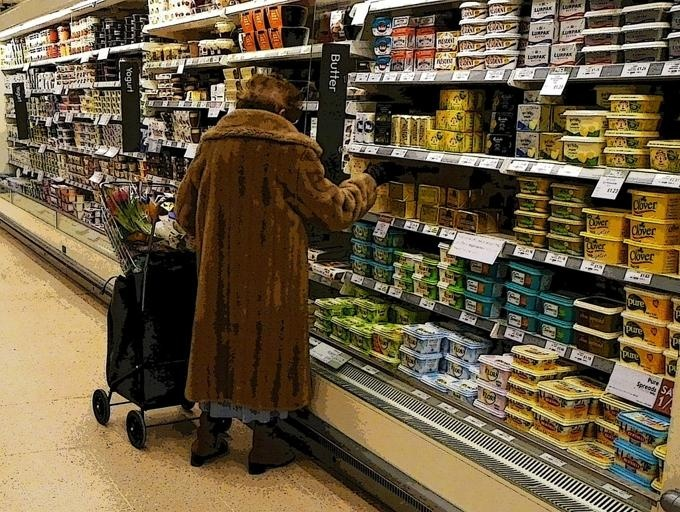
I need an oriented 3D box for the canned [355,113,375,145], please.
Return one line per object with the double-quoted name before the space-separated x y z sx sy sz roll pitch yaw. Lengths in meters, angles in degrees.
"canned" 0.152 -0.785 3.089 0.207 0.183 0.189 2 11 -1
